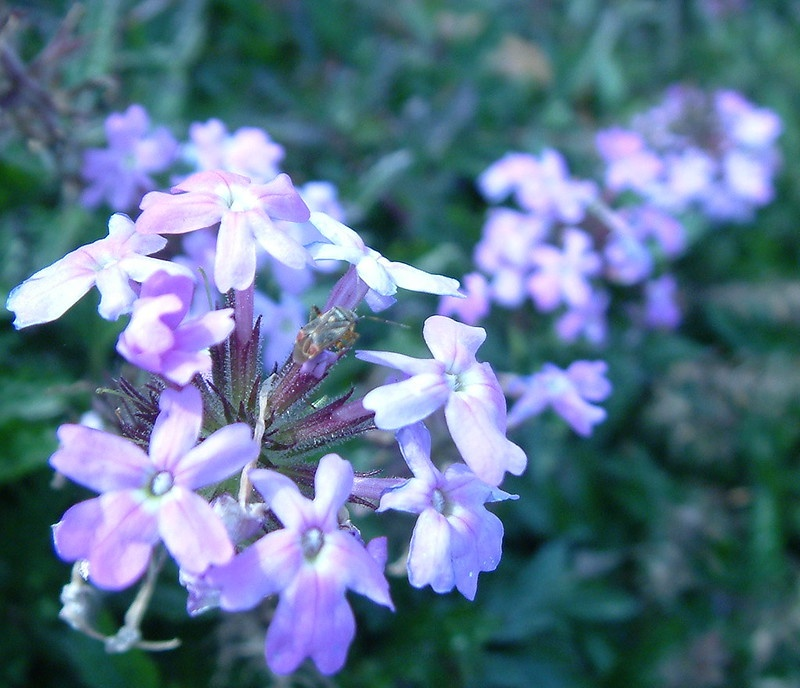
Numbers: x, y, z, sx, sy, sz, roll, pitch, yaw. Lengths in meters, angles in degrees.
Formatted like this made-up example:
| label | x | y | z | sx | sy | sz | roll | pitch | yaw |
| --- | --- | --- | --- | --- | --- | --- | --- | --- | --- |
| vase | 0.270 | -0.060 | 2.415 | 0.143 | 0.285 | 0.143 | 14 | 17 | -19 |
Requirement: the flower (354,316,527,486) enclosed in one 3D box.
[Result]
| label | x | y | z | sx | sy | sz | roll | pitch | yaw |
| --- | --- | --- | --- | --- | --- | --- | --- | --- | --- |
| flower | 0.102 | 0.159 | 2.739 | 0.434 | 0.131 | 0.499 | 14 | 48 | -41 |

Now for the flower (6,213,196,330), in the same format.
| label | x | y | z | sx | sy | sz | roll | pitch | yaw |
| --- | --- | --- | --- | --- | --- | --- | --- | --- | --- |
| flower | -0.867 | -0.194 | 2.712 | 0.388 | 0.339 | 0.107 | -48 | 129 | -44 |

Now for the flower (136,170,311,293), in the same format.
| label | x | y | z | sx | sy | sz | roll | pitch | yaw |
| --- | --- | --- | --- | --- | --- | --- | --- | --- | --- |
| flower | -0.488 | -0.341 | 2.723 | 0.377 | 0.110 | 0.392 | -4 | 50 | -27 |

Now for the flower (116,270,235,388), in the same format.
| label | x | y | z | sx | sy | sz | roll | pitch | yaw |
| --- | --- | --- | --- | --- | --- | --- | --- | --- | --- |
| flower | -0.620 | -0.036 | 2.588 | 0.287 | 0.157 | 0.323 | -12 | 81 | -29 |

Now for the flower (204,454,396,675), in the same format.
| label | x | y | z | sx | sy | sz | roll | pitch | yaw |
| --- | --- | --- | --- | --- | --- | --- | --- | --- | --- |
| flower | -0.255 | 0.606 | 2.549 | 0.472 | 0.223 | 0.599 | 15 | 72 | -22 |
